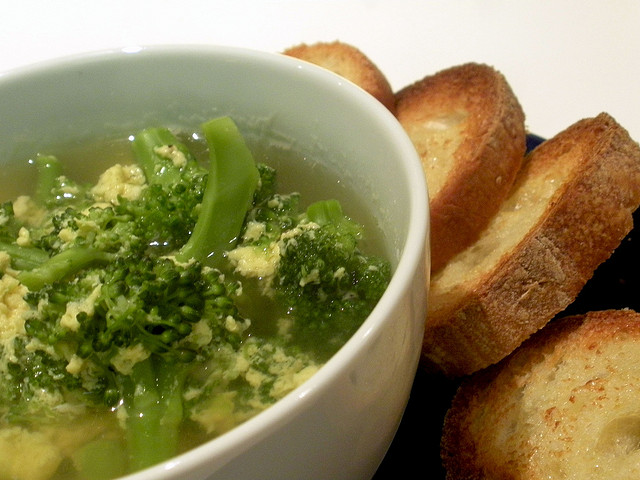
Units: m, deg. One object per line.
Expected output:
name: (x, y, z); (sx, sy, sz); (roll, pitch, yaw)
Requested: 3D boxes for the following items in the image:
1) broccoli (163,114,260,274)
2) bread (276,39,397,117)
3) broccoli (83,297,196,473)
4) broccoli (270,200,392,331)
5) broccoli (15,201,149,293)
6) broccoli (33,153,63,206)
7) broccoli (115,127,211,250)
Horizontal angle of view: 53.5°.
broccoli: (-0.250, -0.116, 1.594); (0.168, 0.350, 0.188); (15, 16, -7)
bread: (0.070, -0.690, 2.480); (0.145, 0.162, 0.574); (3, 23, -41)
broccoli: (-0.371, 0.260, 1.335); (0.236, 0.360, 0.097); (-11, -1, 5)
broccoli: (0.014, 0.050, 1.463); (0.225, 0.278, 0.127); (0, 2, 3)
broccoli: (-0.541, 0.046, 1.502); (0.295, 0.131, 0.223); (2, 28, -5)
broccoli: (-0.800, -0.182, 1.874); (0.084, 0.165, 0.045); (5, -25, -12)
broccoli: (-0.418, -0.130, 1.746); (0.220, 0.128, 0.325); (-17, 49, -9)
